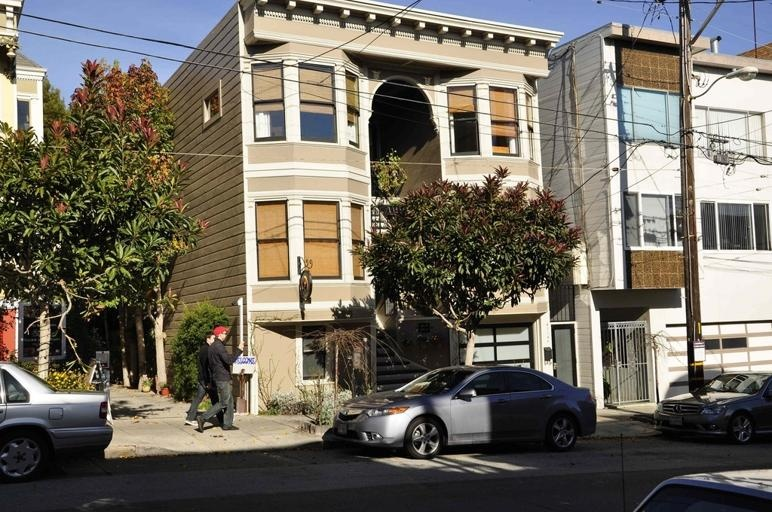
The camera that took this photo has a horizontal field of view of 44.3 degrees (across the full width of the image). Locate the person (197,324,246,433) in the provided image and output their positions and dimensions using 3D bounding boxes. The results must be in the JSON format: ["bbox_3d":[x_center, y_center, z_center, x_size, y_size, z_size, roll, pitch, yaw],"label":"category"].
[{"bbox_3d":[-4.526,3.327,25.566,1.044,2.784,0.754,-2,6,-20],"label":"person"}]

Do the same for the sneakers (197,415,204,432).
[{"bbox_3d":[-4.891,4.461,25.256,0.185,0.494,0.153,-7,-7,5],"label":"sneakers"}]
